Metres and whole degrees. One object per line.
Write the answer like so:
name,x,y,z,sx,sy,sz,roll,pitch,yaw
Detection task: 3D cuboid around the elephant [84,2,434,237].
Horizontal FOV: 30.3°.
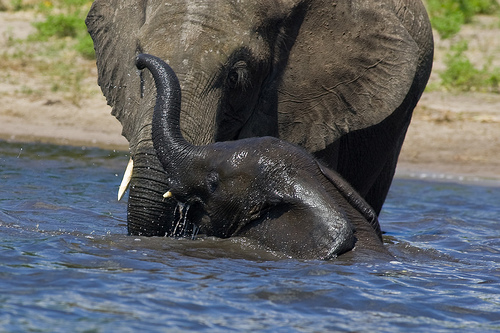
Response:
elephant,-0.121,-0.600,8.567,3.187,1.669,2.245,-4,12,-42
